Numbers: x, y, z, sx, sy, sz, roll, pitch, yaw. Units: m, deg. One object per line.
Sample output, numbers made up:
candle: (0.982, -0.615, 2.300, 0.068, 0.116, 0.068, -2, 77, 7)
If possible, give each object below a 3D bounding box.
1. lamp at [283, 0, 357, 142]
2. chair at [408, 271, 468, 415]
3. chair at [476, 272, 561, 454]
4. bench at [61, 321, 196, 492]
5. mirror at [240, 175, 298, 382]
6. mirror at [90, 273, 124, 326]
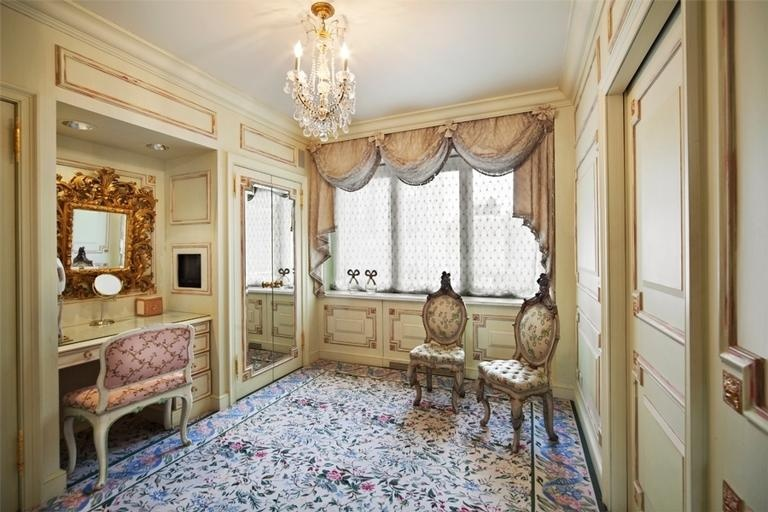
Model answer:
lamp: (-0.552, -1.544, 4.185, 0.649, 1.026, 1.454, -2, 15, -6)
chair: (0.541, 0.860, 4.795, 0.527, 1.231, 0.954, 2, 15, 11)
chair: (1.128, 0.903, 4.144, 0.689, 1.323, 0.655, 4, 6, 32)
bench: (-2.028, 1.100, 3.966, 0.637, 1.268, 0.886, 11, 11, 30)
mirror: (-1.210, 0.212, 5.097, 0.279, 1.986, 1.152, 4, 15, 19)
mirror: (-2.473, 0.381, 4.314, 0.166, 0.439, 0.359, 1, 15, 5)
